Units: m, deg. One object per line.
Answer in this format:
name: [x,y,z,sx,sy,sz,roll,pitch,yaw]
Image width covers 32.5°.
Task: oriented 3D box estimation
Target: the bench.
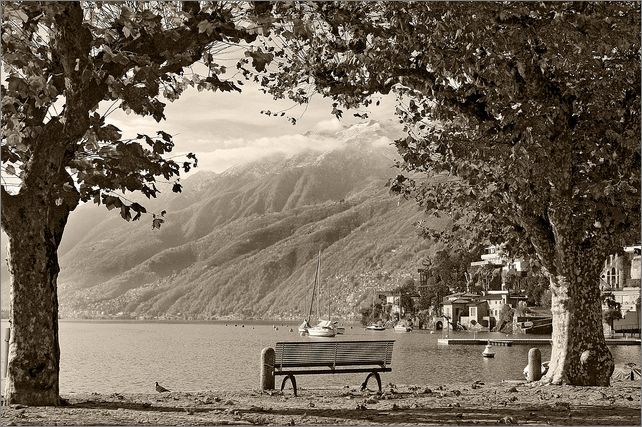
bench: [0.373,6.131,43.488,4.962,2.061,1.786,-3,-5,14]
